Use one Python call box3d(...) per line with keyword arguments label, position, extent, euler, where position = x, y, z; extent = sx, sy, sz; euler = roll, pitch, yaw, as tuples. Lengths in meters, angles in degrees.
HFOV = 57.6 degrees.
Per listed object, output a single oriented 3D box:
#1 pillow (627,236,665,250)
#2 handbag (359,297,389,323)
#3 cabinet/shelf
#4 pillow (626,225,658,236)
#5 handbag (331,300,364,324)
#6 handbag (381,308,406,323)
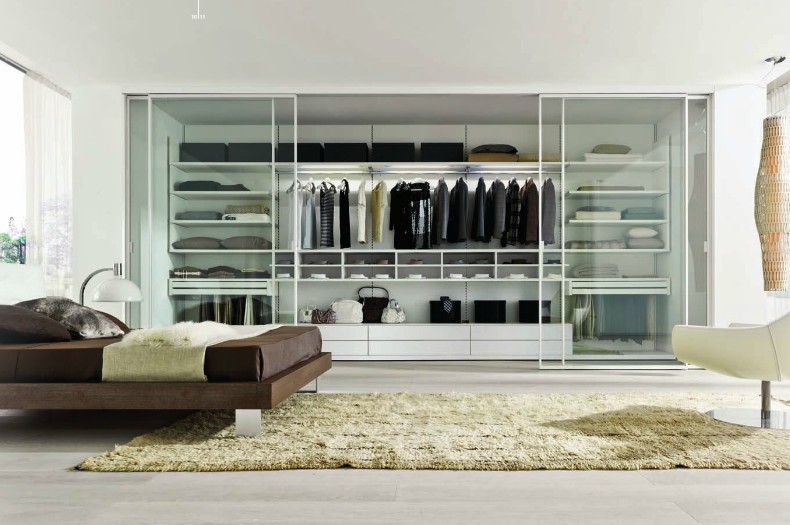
box3d(label="pillow", position=(2.573, -0.214, 7.364), extent=(0.350, 0.120, 0.070), euler=(1, 6, 14))
box3d(label="handbag", position=(-0.246, 0.561, 8.429), extent=(0.333, 0.231, 0.100), euler=(0, -9, -3))
box3d(label="cabinet/shelf", position=(0.327, -0.358, 7.947), extent=(5.954, 2.900, 1.447), euler=(0, 6, 2))
box3d(label="pillow", position=(2.555, -0.323, 7.364), extent=(0.179, 0.045, 0.148), euler=(-1, 24, 7))
box3d(label="handbag", position=(-0.553, 0.568, 8.253), extent=(0.389, 0.229, 0.256), euler=(1, -8, -1))
box3d(label="handbag", position=(-0.006, 0.618, 8.306), extent=(0.303, 0.176, 0.164), euler=(6, -14, -25))
